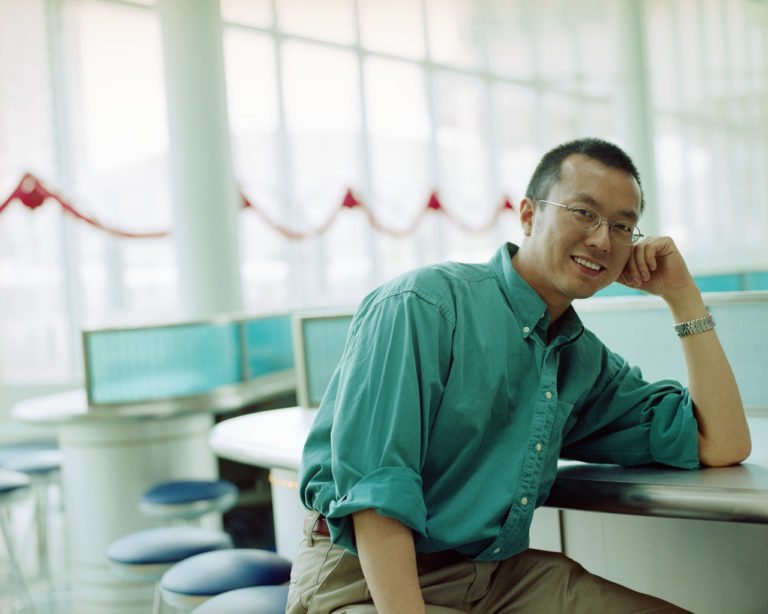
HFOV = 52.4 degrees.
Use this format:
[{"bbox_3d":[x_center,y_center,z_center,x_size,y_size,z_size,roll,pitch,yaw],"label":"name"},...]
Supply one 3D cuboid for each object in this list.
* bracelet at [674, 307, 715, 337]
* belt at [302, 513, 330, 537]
[{"bbox_3d":[0.770,0.043,1.942,0.075,0.029,0.067,-12,1,-18],"label":"bracelet"},{"bbox_3d":[-0.153,0.485,1.741,0.042,0.030,0.057,2,-7,3],"label":"belt"}]
